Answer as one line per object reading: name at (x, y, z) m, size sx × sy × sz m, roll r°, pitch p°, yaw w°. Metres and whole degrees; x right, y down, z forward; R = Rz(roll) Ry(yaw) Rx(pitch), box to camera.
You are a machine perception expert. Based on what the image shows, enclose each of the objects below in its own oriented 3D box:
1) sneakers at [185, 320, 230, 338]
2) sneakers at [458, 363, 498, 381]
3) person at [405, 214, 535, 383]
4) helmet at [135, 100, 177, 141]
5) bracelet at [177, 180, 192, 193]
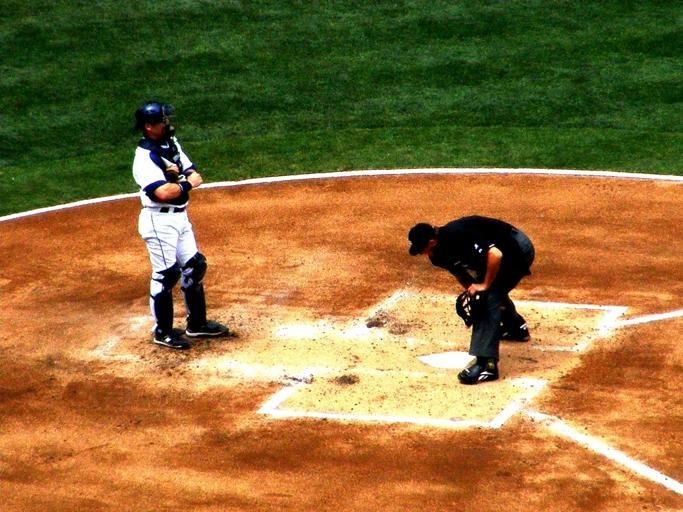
sneakers at (-1.533, 0.856, 12.239) m, size 0.490 × 0.136 × 0.197 m, roll -2°, pitch 16°, yaw -2°
sneakers at (1.406, 1.259, 11.348) m, size 0.539 × 0.183 × 0.144 m, roll -4°, pitch 46°, yaw -7°
person at (1.431, 0.413, 11.519) m, size 0.828 × 1.728 × 1.286 m, roll 8°, pitch 28°, yaw 33°
helmet at (-2.073, -1.533, 11.910) m, size 0.400 × 0.405 × 0.529 m, roll -3°, pitch 21°, yaw 11°
bracelet at (-1.729, -0.765, 11.790) m, size 0.173 × 0.122 × 0.138 m, roll 8°, pitch -3°, yaw 8°
